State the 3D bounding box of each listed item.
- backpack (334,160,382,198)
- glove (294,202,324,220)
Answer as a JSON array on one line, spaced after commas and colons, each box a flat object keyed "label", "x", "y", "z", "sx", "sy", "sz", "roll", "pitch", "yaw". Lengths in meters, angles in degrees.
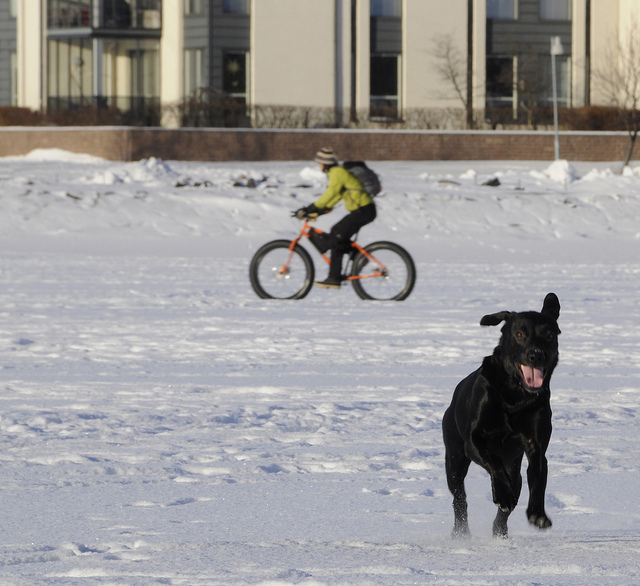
[{"label": "backpack", "x": 0.667, "y": -1.939, "z": 32.898, "sx": 0.786, "sy": 0.706, "sz": 0.486, "roll": -3, "pitch": 16, "yaw": 19}, {"label": "glove", "x": -0.184, "y": -1.334, "z": 32.673, "sx": 0.451, "sy": 0.283, "sz": 0.222, "roll": -26, "pitch": 6, "yaw": -1}]
